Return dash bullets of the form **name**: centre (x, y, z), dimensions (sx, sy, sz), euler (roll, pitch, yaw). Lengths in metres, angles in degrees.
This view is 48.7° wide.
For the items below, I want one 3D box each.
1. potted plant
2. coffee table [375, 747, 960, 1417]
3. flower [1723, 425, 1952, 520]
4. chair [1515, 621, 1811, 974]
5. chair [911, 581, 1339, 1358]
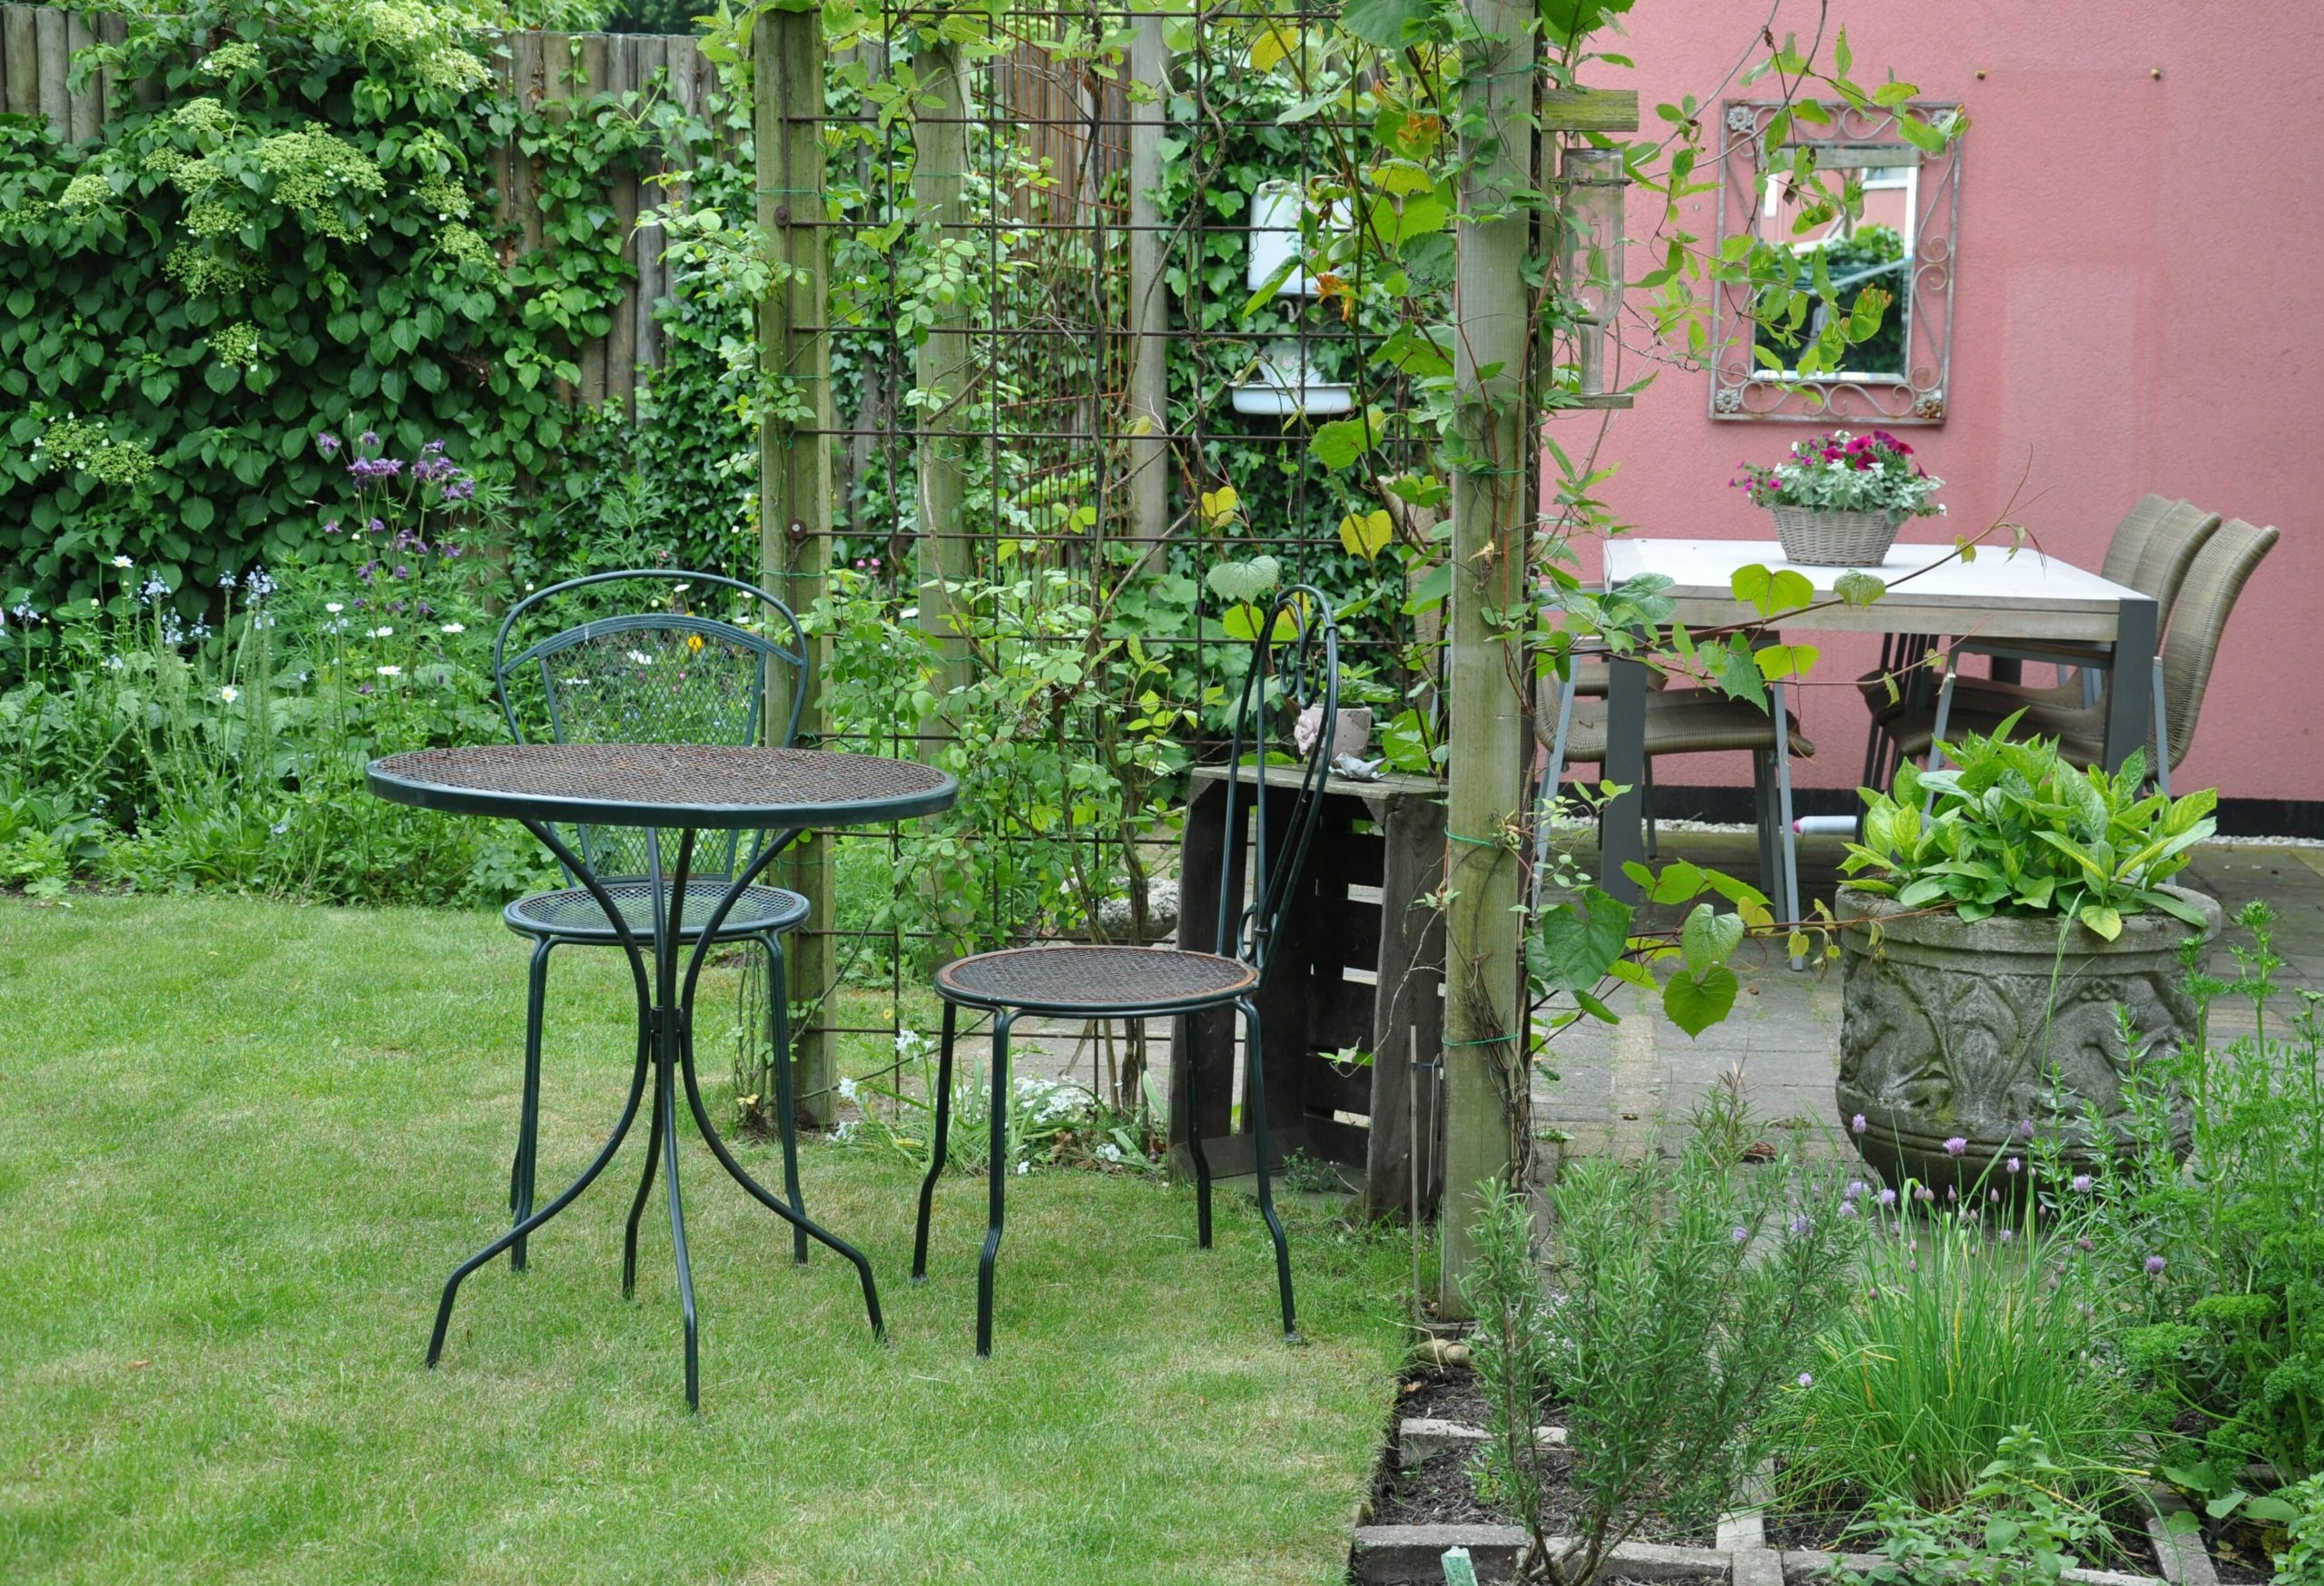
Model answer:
- **potted plant**: centre (1.901, 0.424, 5.814), dimensions (0.718, 1.050, 0.724), euler (-9, 12, -30)
- **coffee table**: centre (-1.046, 0.530, 5.386), dimensions (1.051, 1.203, 1.083), euler (7, 9, 17)
- **flower**: centre (2.043, -0.947, 7.671), dimensions (0.517, 0.263, 0.218), euler (2, 3, 14)
- **chair**: centre (1.542, 0.006, 7.768), dimensions (0.898, 1.437, 0.912), euler (-1, 6, 9)
- **chair**: centre (-0.084, 0.327, 5.493), dimensions (0.812, 1.599, 0.726), euler (-1, 7, -17)
